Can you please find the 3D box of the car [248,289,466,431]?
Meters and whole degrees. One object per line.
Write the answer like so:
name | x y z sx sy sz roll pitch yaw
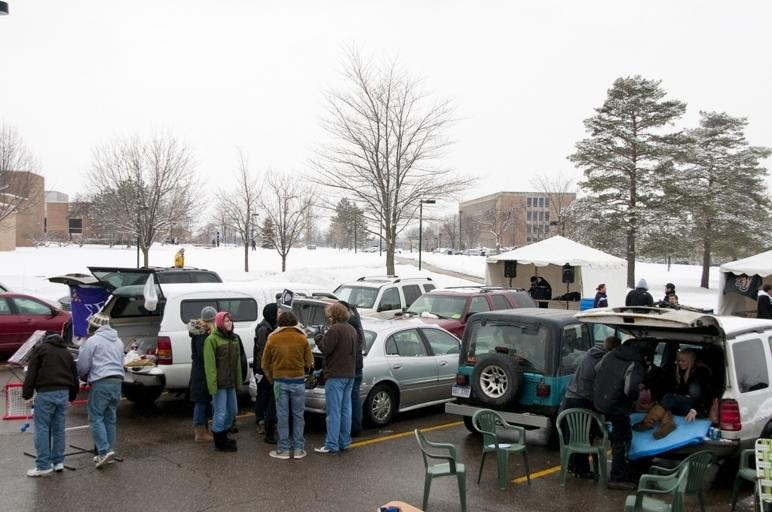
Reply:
car | 0.373 2.247 13.844 4.784 1.508 2.077 -3 3 -45

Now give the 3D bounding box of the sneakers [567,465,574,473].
sneakers | 3.056 3.513 10.805 0.088 0.154 0.090 -5 1 -14

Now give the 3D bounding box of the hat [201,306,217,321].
hat | -3.228 1.074 11.990 0.271 0.135 0.352 -12 27 -23

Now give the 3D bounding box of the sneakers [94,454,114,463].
sneakers | -4.696 3.356 10.846 0.400 0.174 0.147 -7 -14 24

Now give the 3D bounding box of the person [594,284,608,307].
person | 6.574 1.225 20.006 0.256 0.853 0.409 -9 27 -11

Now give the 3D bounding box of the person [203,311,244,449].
person | -2.859 2.214 11.577 0.621 2.356 0.624 0 7 -7

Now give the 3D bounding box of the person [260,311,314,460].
person | -1.697 2.205 11.357 0.826 2.471 0.718 1 7 3

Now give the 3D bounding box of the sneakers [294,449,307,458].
sneakers | -1.455 3.402 11.249 0.092 0.087 0.245 0 0 20

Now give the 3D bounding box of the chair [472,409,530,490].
chair | 1.855 3.026 10.452 0.753 1.002 0.755 3 -6 -29

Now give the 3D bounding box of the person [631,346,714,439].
person | 4.777 2.197 10.777 1.306 1.269 0.832 -5 6 -24

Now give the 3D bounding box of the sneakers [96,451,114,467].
sneakers | -4.597 3.333 10.783 0.280 0.230 0.212 -2 7 -24

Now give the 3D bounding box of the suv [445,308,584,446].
suv | 2.711 2.387 13.361 2.231 2.087 4.076 2 -2 23

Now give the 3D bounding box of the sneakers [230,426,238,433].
sneakers | -2.849 3.300 12.448 0.173 0.112 0.056 -2 7 -18

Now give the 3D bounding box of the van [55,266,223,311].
van | -5.296 0.731 14.392 2.405 0.823 1.353 -3 3 -30

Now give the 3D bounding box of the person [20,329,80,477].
person | -5.423 2.372 10.563 0.668 2.169 0.708 0 7 -1

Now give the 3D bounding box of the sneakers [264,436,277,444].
sneakers | -2.078 3.339 11.907 0.225 0.152 0.101 -3 -2 22

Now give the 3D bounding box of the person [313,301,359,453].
person | -0.882 2.138 11.562 0.516 2.569 0.781 6 8 37

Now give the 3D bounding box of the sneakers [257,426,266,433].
sneakers | -2.345 3.312 12.431 0.142 0.130 0.087 9 -11 -42

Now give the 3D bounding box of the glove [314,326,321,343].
glove | -1.206 1.417 11.601 0.078 0.207 0.156 9 -5 1

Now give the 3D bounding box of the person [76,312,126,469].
person | -4.747 2.243 10.962 0.649 2.351 0.869 0 7 -6

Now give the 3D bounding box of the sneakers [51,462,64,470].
sneakers | -5.241 3.406 10.561 0.173 0.107 0.143 -2 7 -26

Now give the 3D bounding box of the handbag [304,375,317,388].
handbag | -1.352 2.337 12.149 0.252 0.239 0.183 -4 2 14

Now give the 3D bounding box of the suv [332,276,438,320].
suv | 0.184 1.211 19.644 2.366 1.024 1.345 4 -4 -45

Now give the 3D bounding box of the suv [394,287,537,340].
suv | 2.256 1.571 17.715 2.840 1.152 1.451 2 -2 -35

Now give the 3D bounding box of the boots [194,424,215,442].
boots | -3.285 3.240 11.995 0.395 0.358 0.186 0 3 -12

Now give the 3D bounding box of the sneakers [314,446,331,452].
sneakers | -1.094 3.396 11.493 0.299 0.125 0.107 5 2 1

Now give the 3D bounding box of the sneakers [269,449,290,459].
sneakers | -1.821 3.397 11.277 0.357 0.138 0.142 4 2 28

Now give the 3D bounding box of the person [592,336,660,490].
person | 3.818 2.430 10.482 0.852 2.208 0.856 1 7 -6

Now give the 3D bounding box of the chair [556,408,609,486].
chair | 3.100 2.987 10.348 0.803 1.080 0.835 -3 -10 16
